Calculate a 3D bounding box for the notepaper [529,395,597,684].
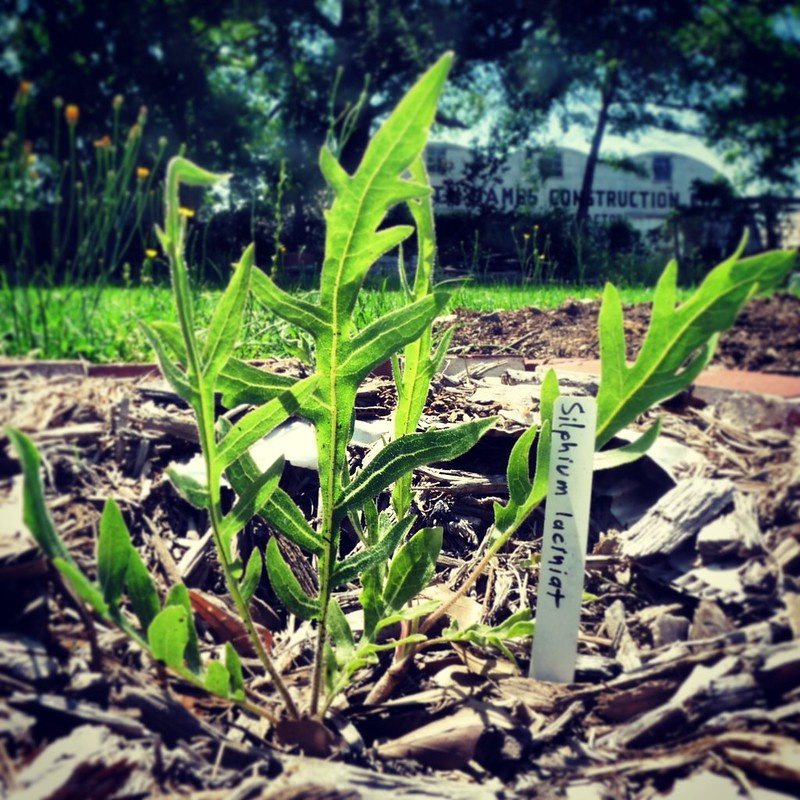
[{"bbox_3d":[0.211,0.176,1.183,0.058,0.366,0.071,5,8,16],"label":"notepaper"}]
